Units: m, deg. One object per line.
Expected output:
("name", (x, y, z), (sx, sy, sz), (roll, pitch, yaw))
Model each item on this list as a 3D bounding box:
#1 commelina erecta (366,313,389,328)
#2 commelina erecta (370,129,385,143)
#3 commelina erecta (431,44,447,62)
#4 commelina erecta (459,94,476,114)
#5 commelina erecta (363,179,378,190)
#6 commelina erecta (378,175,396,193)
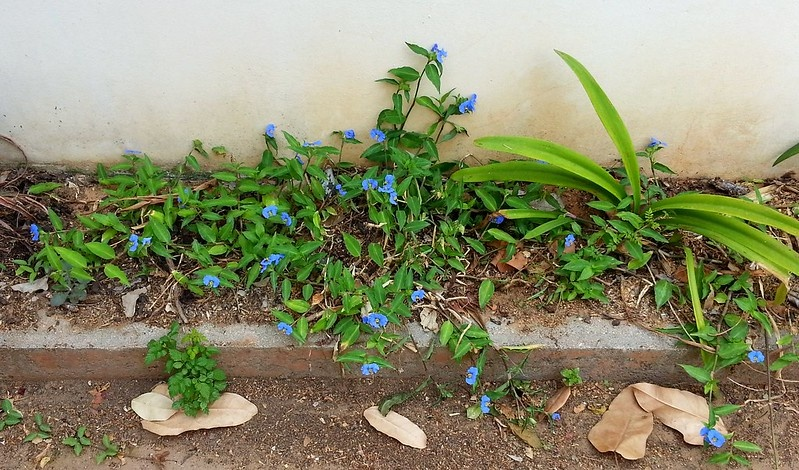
("commelina erecta", (-0.145, 0.574, 3.683), (0.116, 0.104, 0.058), (13, 31, 11))
("commelina erecta", (-0.158, -0.727, 4.054), (0.107, 0.086, 0.050), (-3, 21, 48))
("commelina erecta", (0.274, -1.270, 3.911), (0.126, 0.045, 0.107), (35, 80, 0))
("commelina erecta", (0.498, -0.948, 4.022), (0.118, 0.156, 0.102), (15, 40, 6))
("commelina erecta", (-0.200, -0.342, 3.859), (0.115, 0.089, 0.059), (-1, 41, -12))
("commelina erecta", (-0.082, -0.354, 3.877), (0.120, 0.111, 0.053), (-12, 9, 4))
